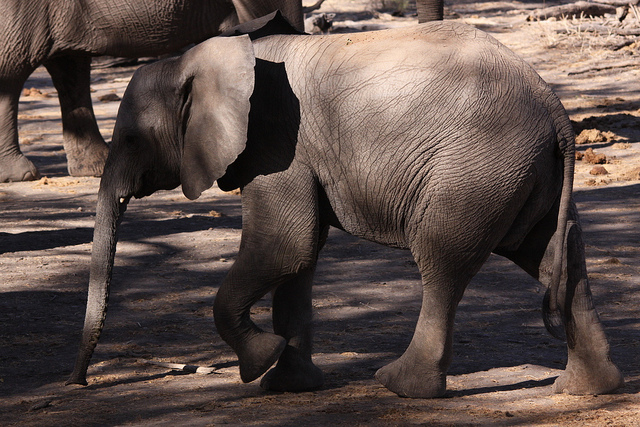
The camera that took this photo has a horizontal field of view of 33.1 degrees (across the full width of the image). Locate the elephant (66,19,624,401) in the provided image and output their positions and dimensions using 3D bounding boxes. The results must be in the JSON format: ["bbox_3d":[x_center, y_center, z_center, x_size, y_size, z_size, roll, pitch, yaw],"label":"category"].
[{"bbox_3d":[0.285,0.032,7.893,5.197,2.575,2.111,2,1,30],"label":"elephant"}]
